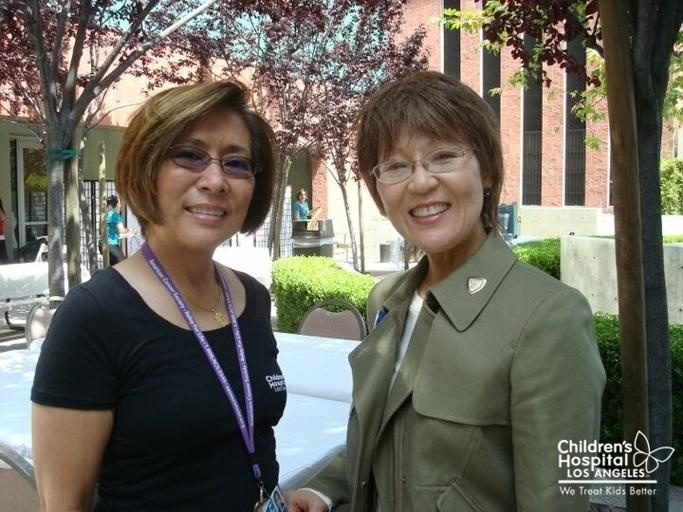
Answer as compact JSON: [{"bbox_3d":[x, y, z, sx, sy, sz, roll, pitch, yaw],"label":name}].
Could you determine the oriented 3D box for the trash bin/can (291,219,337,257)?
[{"bbox_3d":[-0.855,-0.488,16.005,0.955,1.736,0.977,1,5,22],"label":"trash bin/can"}]
